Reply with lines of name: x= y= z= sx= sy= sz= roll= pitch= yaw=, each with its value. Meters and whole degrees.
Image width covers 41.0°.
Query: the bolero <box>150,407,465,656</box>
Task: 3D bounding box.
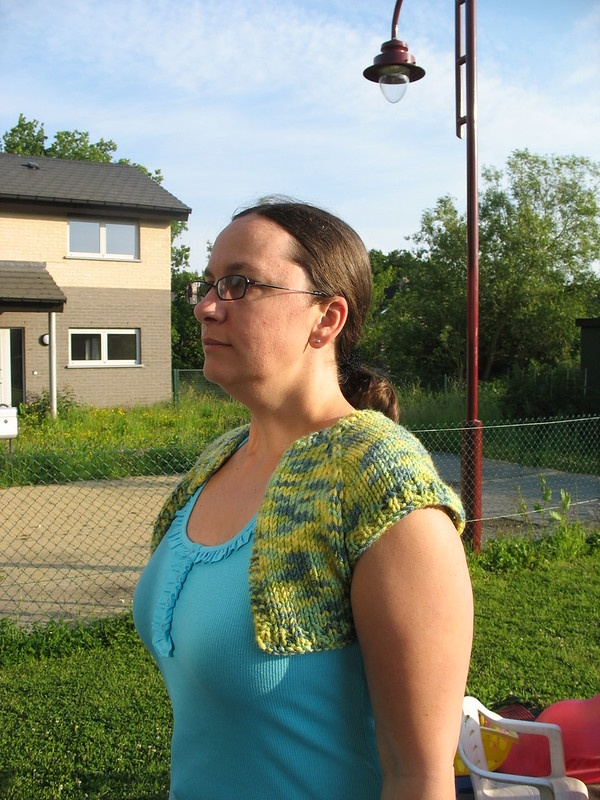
bolero: x=0.008 y=0.168 z=1.172 sx=0.309 sy=0.315 sz=0.576 roll=6 pitch=-9 yaw=-28

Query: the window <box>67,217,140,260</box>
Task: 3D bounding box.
window: x=-5.105 y=-4.154 z=20.490 sx=1.327 sy=0.707 sz=0.164 roll=1 pitch=-5 yaw=-24
